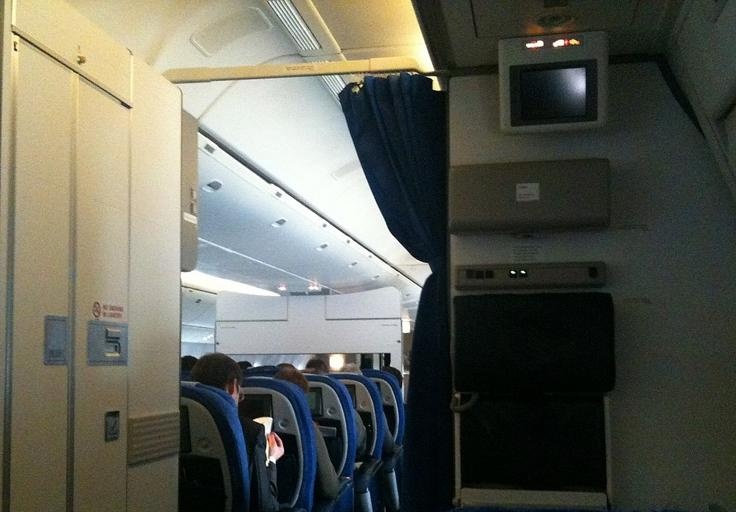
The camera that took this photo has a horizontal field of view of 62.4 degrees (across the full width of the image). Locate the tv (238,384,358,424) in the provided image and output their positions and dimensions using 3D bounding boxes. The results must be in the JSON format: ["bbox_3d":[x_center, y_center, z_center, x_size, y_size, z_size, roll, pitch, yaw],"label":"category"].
[{"bbox_3d":[-0.555,1.139,4.664,0.527,0.216,0.484,14,-23,-34],"label":"tv"}]

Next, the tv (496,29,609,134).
[{"bbox_3d":[1.189,-1.047,3.669,0.648,0.549,0.351,10,24,42],"label":"tv"}]
